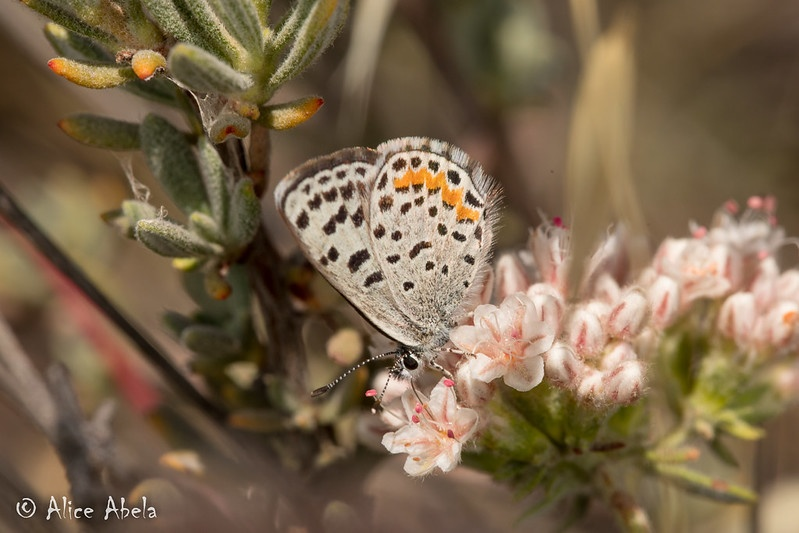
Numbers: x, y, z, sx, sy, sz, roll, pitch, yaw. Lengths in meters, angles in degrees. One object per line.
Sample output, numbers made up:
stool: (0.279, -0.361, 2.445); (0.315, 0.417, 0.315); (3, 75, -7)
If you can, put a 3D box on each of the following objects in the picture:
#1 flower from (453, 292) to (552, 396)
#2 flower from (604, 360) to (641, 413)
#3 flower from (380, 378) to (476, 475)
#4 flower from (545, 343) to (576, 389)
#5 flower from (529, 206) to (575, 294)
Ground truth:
flower: (0.220, 0.156, 1.852); (0.188, 0.099, 0.198); (-29, 90, -13)
flower: (0.471, 0.241, 1.865); (0.081, 0.074, 0.069); (4, 38, 5)
flower: (0.066, 0.344, 1.861); (0.143, 0.135, 0.153); (29, 46, 31)
flower: (0.347, 0.217, 1.905); (0.050, 0.085, 0.064); (-18, 45, 6)
flower: (0.337, -0.031, 2.005); (0.077, 0.141, 0.198); (-8, 0, 4)
